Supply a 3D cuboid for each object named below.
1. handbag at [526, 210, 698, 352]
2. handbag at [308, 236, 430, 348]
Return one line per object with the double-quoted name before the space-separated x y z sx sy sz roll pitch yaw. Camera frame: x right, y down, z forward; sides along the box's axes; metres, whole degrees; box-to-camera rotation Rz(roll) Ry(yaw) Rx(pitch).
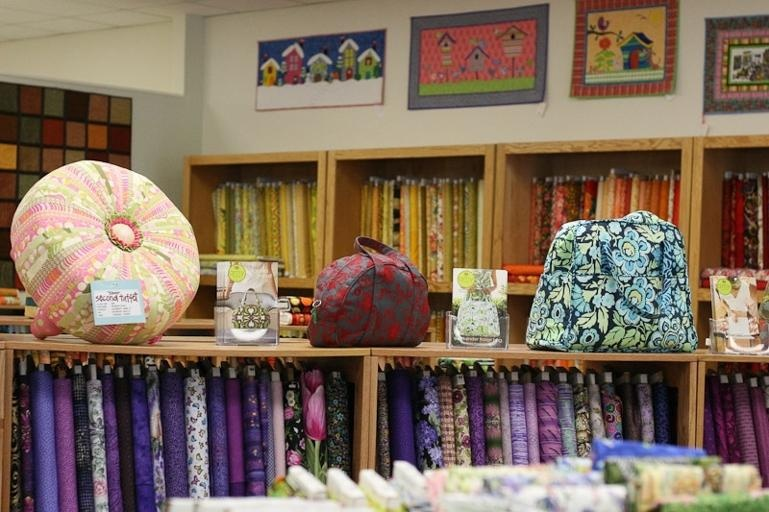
"handbag" 1.147 0.119 5.339 0.739 0.656 0.402 0 8 -6
"handbag" -0.053 0.166 5.327 0.636 0.578 0.348 2 3 -42
